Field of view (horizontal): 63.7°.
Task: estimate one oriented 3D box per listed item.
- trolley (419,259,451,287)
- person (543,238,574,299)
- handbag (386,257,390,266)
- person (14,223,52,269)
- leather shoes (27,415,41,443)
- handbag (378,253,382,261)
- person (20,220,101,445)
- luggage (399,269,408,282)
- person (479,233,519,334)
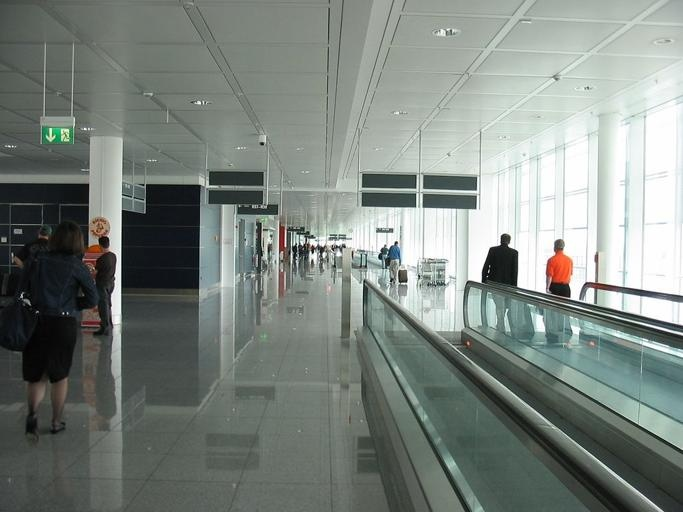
[{"bbox_3d":[3.462,0.610,20.474,1.146,1.276,0.908,0,-5,1],"label":"trolley"},{"bbox_3d":[3.707,0.199,9.334,0.409,0.976,0.772,2,6,21],"label":"person"},{"bbox_3d":[2.226,0.266,26.976,0.105,0.450,0.461,4,-1,-17],"label":"handbag"},{"bbox_3d":[-5.626,-0.240,9.995,1.145,0.585,0.410,-28,-28,32],"label":"person"},{"bbox_3d":[-3.170,1.776,5.656,0.107,0.142,0.347,4,-32,-11],"label":"leather shoes"},{"bbox_3d":[2.097,0.063,29.824,0.101,0.338,0.241,3,1,19],"label":"handbag"},{"bbox_3d":[-2.975,0.732,5.794,0.717,2.176,0.392,-3,6,-32],"label":"person"},{"bbox_3d":[2.216,0.731,19.937,0.301,0.521,0.537,0,6,-3],"label":"luggage"},{"bbox_3d":[2.678,0.395,9.338,0.604,1.476,2.826,2,6,17],"label":"person"}]
